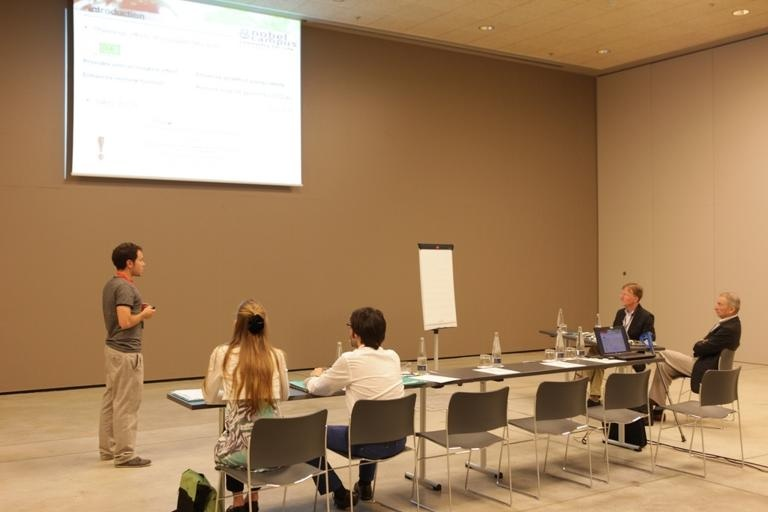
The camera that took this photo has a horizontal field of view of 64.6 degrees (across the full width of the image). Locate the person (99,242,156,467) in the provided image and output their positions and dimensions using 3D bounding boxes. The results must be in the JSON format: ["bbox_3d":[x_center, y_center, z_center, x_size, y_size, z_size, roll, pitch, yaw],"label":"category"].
[{"bbox_3d":[-2.538,0.960,6.025,0.619,2.189,0.346,1,1,39],"label":"person"}]

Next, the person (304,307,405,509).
[{"bbox_3d":[-0.220,1.290,5.103,0.832,1.710,0.601,0,1,-8],"label":"person"}]

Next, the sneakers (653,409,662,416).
[{"bbox_3d":[3.339,1.901,7.395,0.102,0.043,0.117,-2,1,19],"label":"sneakers"}]

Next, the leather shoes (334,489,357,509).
[{"bbox_3d":[-0.320,2.046,5.135,0.138,0.094,0.245,-11,-2,-28],"label":"leather shoes"}]

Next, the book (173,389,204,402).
[{"bbox_3d":[-1.622,1.155,5.042,0.214,0.057,0.232,3,-1,-30],"label":"book"}]

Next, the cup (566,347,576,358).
[{"bbox_3d":[2.085,1.067,6.763,0.089,0.096,0.093,0,0,0],"label":"cup"}]

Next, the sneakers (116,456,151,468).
[{"bbox_3d":[-2.486,2.012,6.037,0.288,0.125,0.120,0,-3,-8],"label":"sneakers"}]

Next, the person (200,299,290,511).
[{"bbox_3d":[-1.051,0.970,4.654,0.645,1.248,0.381,0,1,-16],"label":"person"}]

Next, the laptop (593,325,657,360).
[{"bbox_3d":[2.562,0.924,6.695,0.486,0.291,0.391,1,-3,-33],"label":"laptop"}]
